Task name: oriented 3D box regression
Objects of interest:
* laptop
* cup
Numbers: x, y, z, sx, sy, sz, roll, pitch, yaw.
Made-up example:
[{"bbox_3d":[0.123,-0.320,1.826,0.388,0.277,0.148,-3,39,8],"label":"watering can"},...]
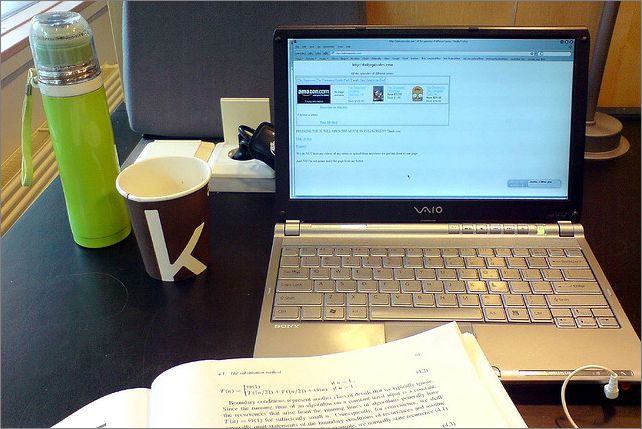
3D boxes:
[{"bbox_3d":[0.190,-0.043,0.791,0.553,0.330,0.457,1,40,3],"label":"laptop"},{"bbox_3d":[-0.230,0.006,0.932,0.192,0.199,0.197,0,34,0],"label":"cup"}]
